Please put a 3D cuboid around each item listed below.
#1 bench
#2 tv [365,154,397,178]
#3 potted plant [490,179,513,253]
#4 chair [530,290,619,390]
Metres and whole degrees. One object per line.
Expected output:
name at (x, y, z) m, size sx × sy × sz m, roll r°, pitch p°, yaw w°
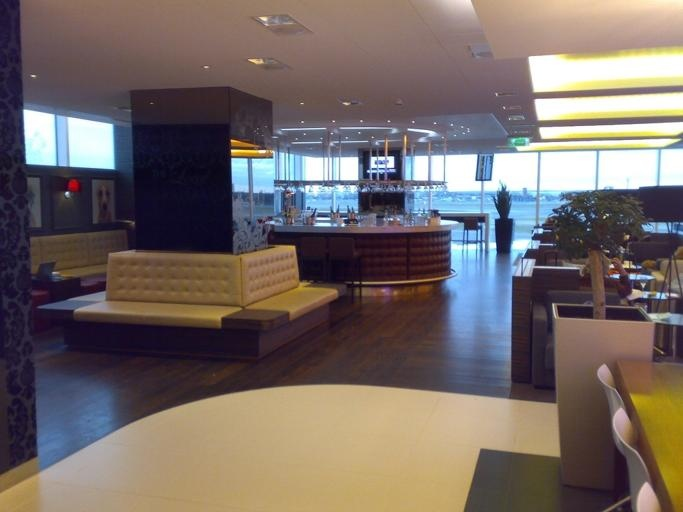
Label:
bench at (-1.969, 0.558, 6.733) m, size 3.371 × 1.222 × 1.943 m, roll 0°, pitch 9°, yaw 1°
tv at (1.283, -2.877, 15.754) m, size 0.990 × 0.792 × 0.555 m, roll 1°, pitch 9°, yaw 10°
potted plant at (5.282, -1.226, 16.282) m, size 0.640 × 2.253 × 0.686 m, roll 2°, pitch 9°, yaw 16°
chair at (2.227, 0.824, 5.291) m, size 0.914 × 1.102 × 0.961 m, roll 0°, pitch -4°, yaw 9°
